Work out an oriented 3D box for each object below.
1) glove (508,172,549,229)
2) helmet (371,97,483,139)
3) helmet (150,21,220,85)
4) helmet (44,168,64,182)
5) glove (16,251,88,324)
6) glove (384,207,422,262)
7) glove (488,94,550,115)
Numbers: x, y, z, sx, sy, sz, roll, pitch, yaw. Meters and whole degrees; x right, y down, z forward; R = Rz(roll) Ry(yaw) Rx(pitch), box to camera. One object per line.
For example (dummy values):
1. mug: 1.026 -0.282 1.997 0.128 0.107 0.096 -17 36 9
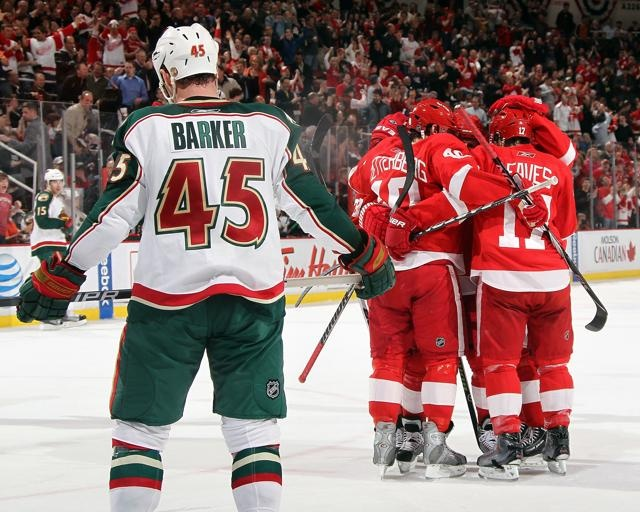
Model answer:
1. glove: 1.139 -0.293 5.180 0.196 0.290 0.152 1 4 6
2. helmet: 0.614 -0.776 5.542 0.506 0.208 0.324 0 7 -3
3. helmet: -0.589 -0.889 4.168 0.258 0.233 0.274 -6 25 -14
4. helmet: -2.961 -0.897 10.543 0.144 0.150 0.172 2 -17 -32
5. glove: -1.138 0.155 4.057 0.369 0.211 0.144 -26 -56 32
6. glove: 0.434 -0.128 5.277 0.130 0.269 0.202 6 41 -12
7. glove: 1.140 -0.866 5.463 0.222 0.070 0.158 6 5 22
